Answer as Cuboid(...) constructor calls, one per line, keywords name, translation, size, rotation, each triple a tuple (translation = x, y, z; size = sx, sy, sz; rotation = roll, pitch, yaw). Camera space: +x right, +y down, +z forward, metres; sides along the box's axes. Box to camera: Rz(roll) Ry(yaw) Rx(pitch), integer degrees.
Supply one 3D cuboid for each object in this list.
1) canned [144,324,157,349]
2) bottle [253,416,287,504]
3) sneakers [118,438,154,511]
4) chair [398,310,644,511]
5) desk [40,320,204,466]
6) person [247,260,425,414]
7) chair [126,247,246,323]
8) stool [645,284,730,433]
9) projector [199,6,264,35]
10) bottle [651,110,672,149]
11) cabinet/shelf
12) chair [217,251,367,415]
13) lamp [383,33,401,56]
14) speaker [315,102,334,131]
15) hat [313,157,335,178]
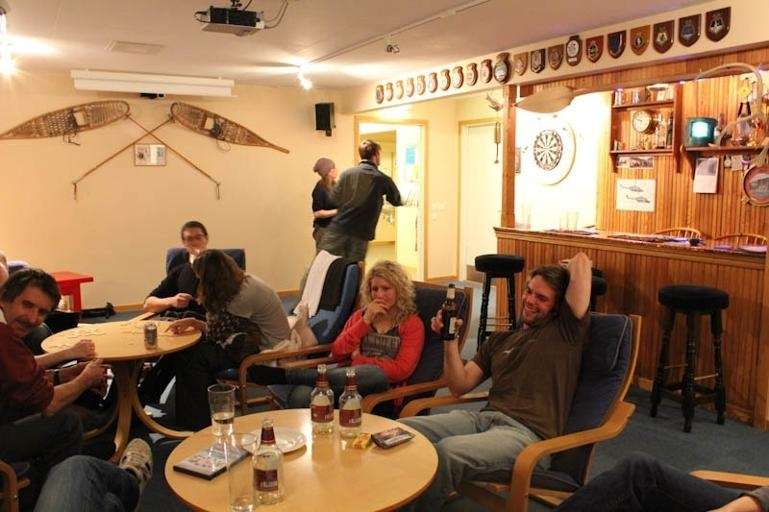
Cuboid(name="canned", translation=(-1.722, 0.583, 4.075), size=(0.089, 0.180, 0.175), rotation=(-4, 6, -26))
Cuboid(name="bottle", translation=(-0.561, 0.974, 2.653), size=(0.143, 0.393, 0.151), rotation=(-1, 6, 0))
Cuboid(name="sneakers", translation=(-1.478, 1.325, 3.296), size=(0.180, 0.450, 0.182), rotation=(17, -21, -14))
Cuboid(name="chair", translation=(0.967, 0.982, 3.712), size=(1.392, 1.246, 1.205), rotation=(2, -5, -28))
Cuboid(name="desk", translation=(-1.955, 0.908, 4.254), size=(1.069, 0.759, 1.056), rotation=(6, 7, 22))
Cuboid(name="person", translation=(-0.783, 0.562, 4.370), size=(1.179, 0.968, 0.807), rotation=(-1, 3, -17))
Cuboid(name="chair", translation=(-1.713, 0.138, 5.129), size=(0.465, 0.473, 0.447), rotation=(-9, 18, 25))
Cuboid(name="stool", translation=(2.604, 0.827, 4.746), size=(0.568, 1.163, 0.729), rotation=(2, 7, 32))
Cuboid(name="projector", translation=(-1.280, -1.983, 4.669), size=(0.458, 0.142, 0.281), rotation=(0, 2, -34))
Cuboid(name="bottle", translation=(3.136, -1.428, 6.243), size=(0.147, 0.449, 0.264), rotation=(0, 6, 10))
Cuboid(name="cabinet/shelf", translation=(2.984, -1.476, 6.273), size=(0.370, 1.206, 0.990), rotation=(-3, 5, -36))
Cuboid(name="chair", translation=(-0.837, 0.731, 4.638), size=(1.288, 1.144, 0.820), rotation=(-8, 11, -15))
Cuboid(name="lamp", translation=(0.077, -2.274, 5.936), size=(0.072, 0.145, 0.158), rotation=(26, -27, 25))
Cuboid(name="speaker", translation=(-0.938, -2.175, 8.596), size=(0.300, 0.453, 0.245), rotation=(-2, 6, -3))
Cuboid(name="hat", translation=(-0.818, -1.223, 7.614), size=(0.329, 0.276, 0.239), rotation=(-5, 16, -5))
